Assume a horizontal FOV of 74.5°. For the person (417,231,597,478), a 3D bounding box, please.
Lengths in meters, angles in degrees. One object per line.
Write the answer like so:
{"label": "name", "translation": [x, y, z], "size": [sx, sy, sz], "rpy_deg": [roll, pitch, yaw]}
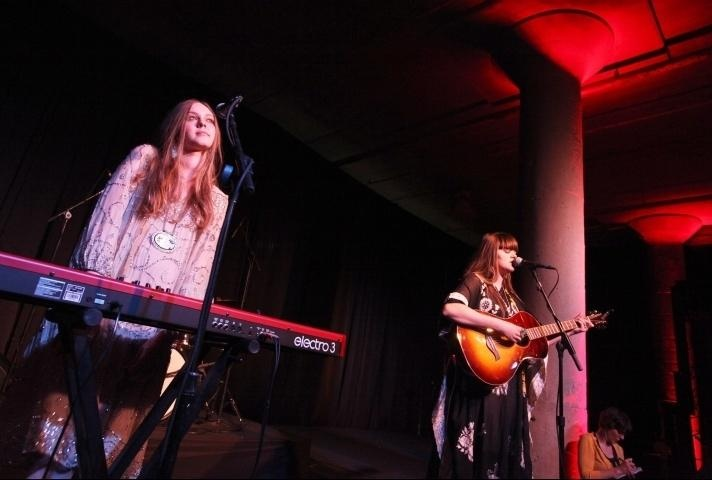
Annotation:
{"label": "person", "translation": [1.082, 0.867, 3.603], "size": [0.954, 1.922, 0.513], "rpy_deg": [10, -19, 3]}

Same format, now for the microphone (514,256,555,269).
{"label": "microphone", "translation": [1.451, 0.202, 3.846], "size": [0.438, 0.118, 0.133], "rpy_deg": [1, 7, 15]}
